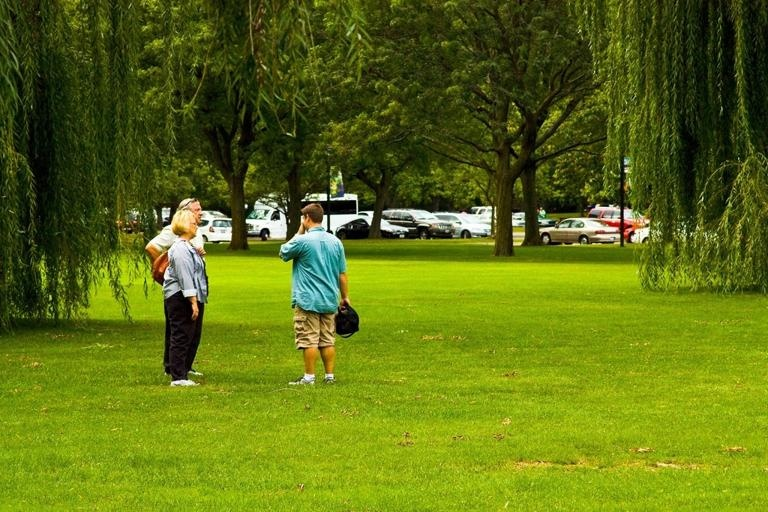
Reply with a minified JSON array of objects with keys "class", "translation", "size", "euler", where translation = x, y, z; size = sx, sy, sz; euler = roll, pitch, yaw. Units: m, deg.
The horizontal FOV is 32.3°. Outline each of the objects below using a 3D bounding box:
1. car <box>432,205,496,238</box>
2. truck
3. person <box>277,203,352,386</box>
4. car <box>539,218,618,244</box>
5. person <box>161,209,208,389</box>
[{"class":"car","translation":[4.786,-1.795,79.815],"size":[3.082,1.130,1.590],"euler":[1,7,27]},{"class":"truck","translation":[-5.031,-2.343,85.251],"size":[8.006,3.858,3.002],"euler":[0,1,-24]},{"class":"person","translation":[-1.140,0.661,21.403],"size":[1.160,2.857,0.872],"euler":[3,-6,-22]},{"class":"car","translation":[10.004,-1.058,68.467],"size":[1.707,1.102,3.675],"euler":[-3,6,-45]},{"class":"person","translation":[-3.264,0.678,21.467],"size":[0.809,2.649,0.798],"euler":[0,2,-11]}]
